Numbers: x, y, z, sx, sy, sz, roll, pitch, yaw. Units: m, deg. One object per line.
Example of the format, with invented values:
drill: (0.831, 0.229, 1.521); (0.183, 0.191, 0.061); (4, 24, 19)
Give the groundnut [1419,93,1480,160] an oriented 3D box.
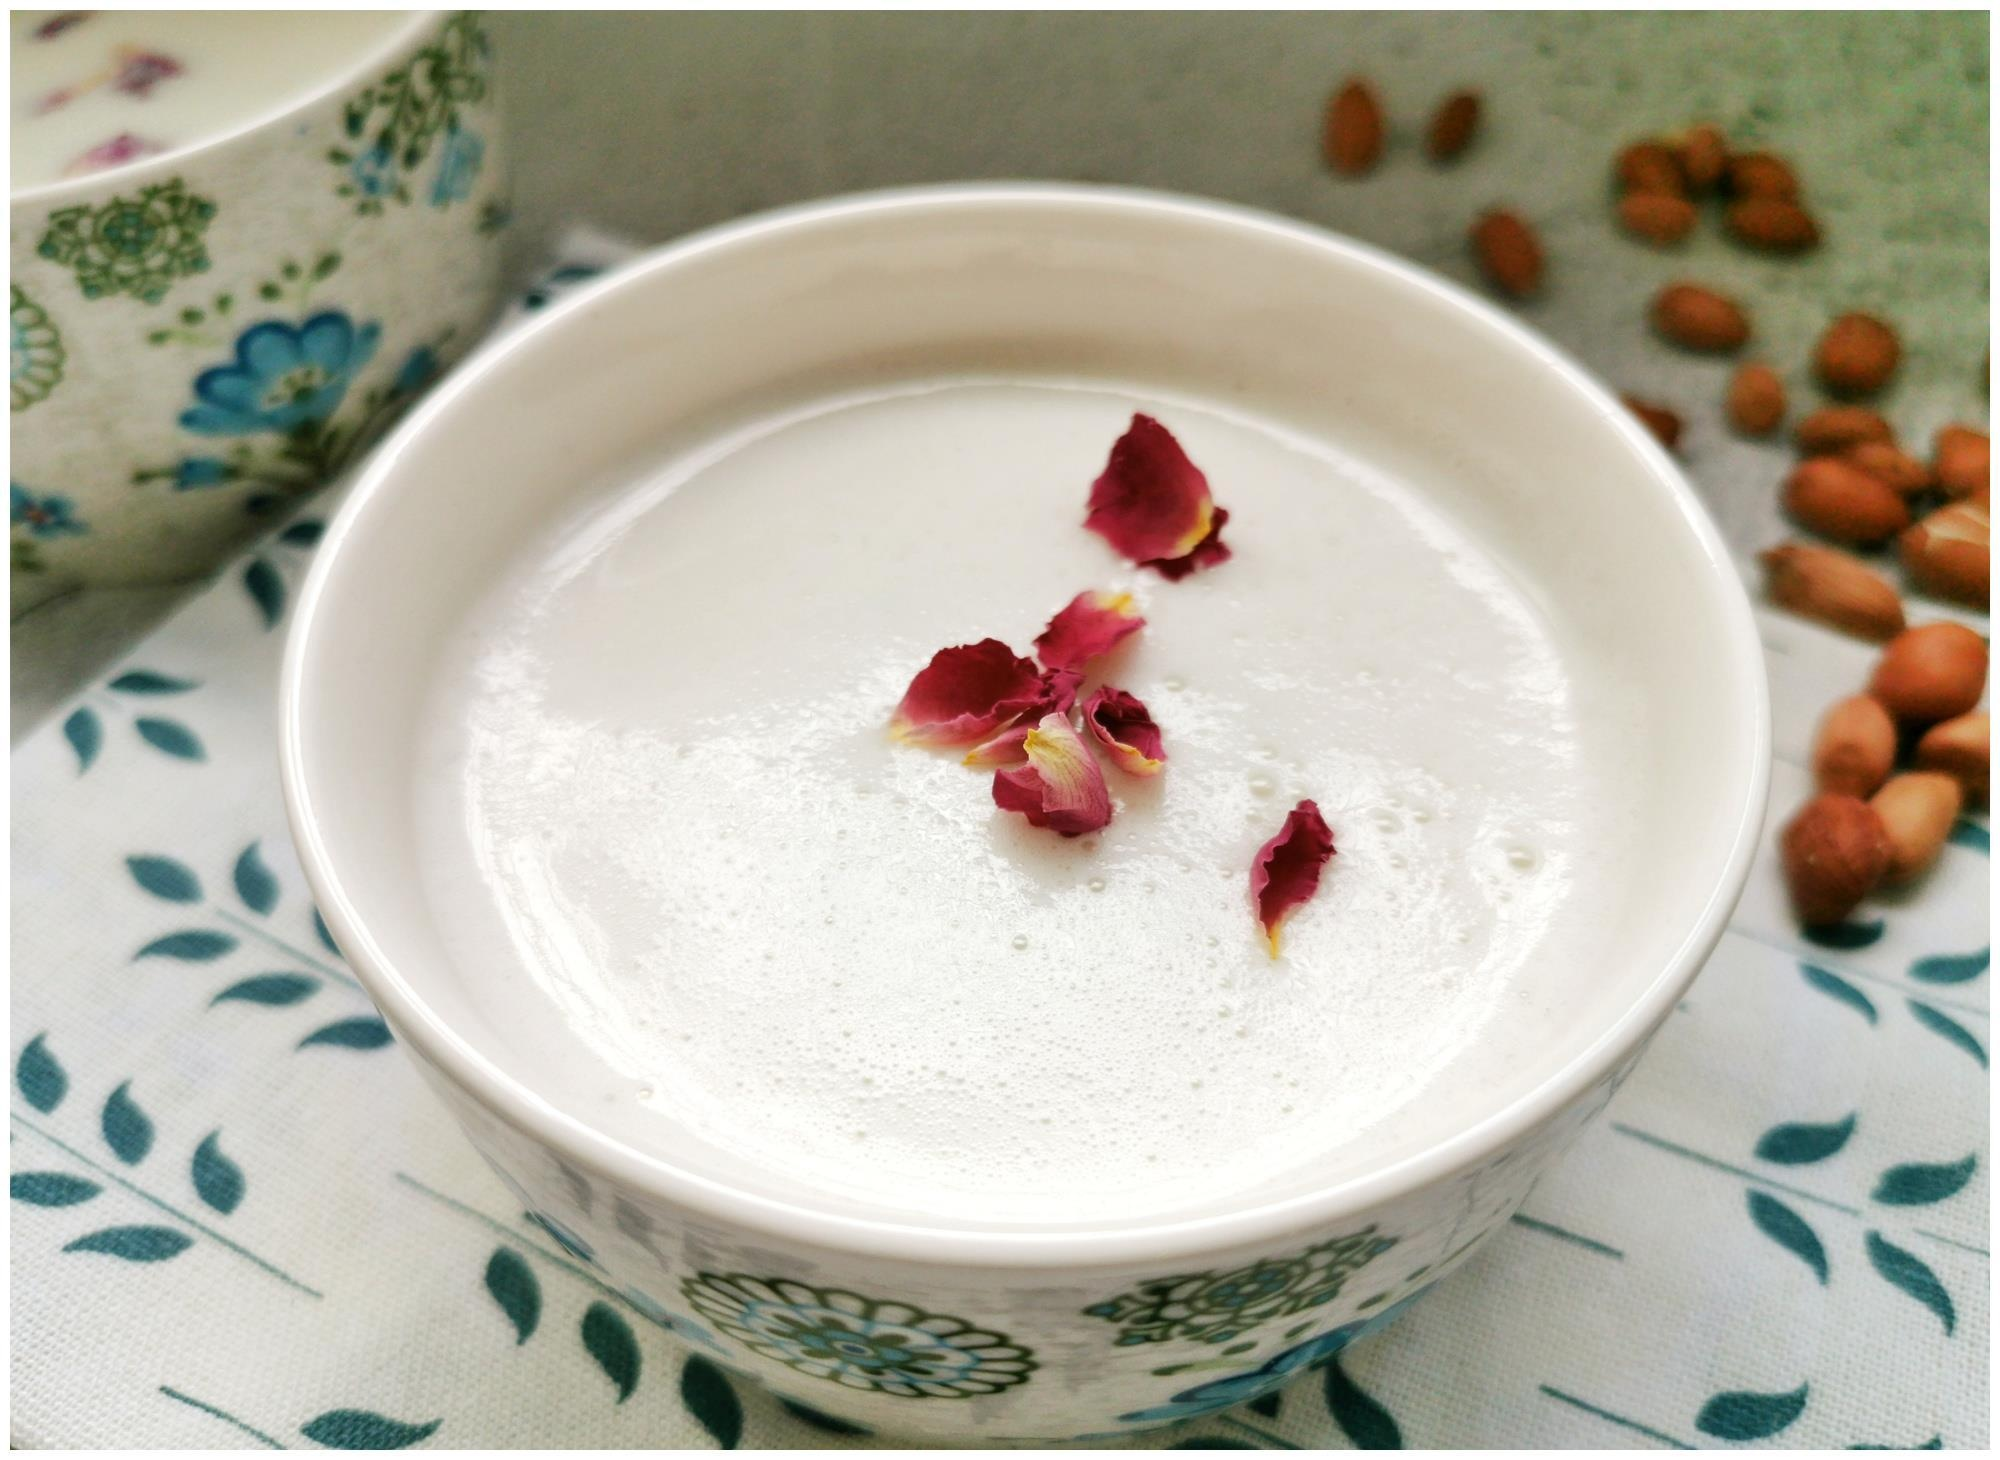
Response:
groundnut: (0.264, -0.349, 1.049); (0.026, 0.008, 0.034); (26, -56, 1)
